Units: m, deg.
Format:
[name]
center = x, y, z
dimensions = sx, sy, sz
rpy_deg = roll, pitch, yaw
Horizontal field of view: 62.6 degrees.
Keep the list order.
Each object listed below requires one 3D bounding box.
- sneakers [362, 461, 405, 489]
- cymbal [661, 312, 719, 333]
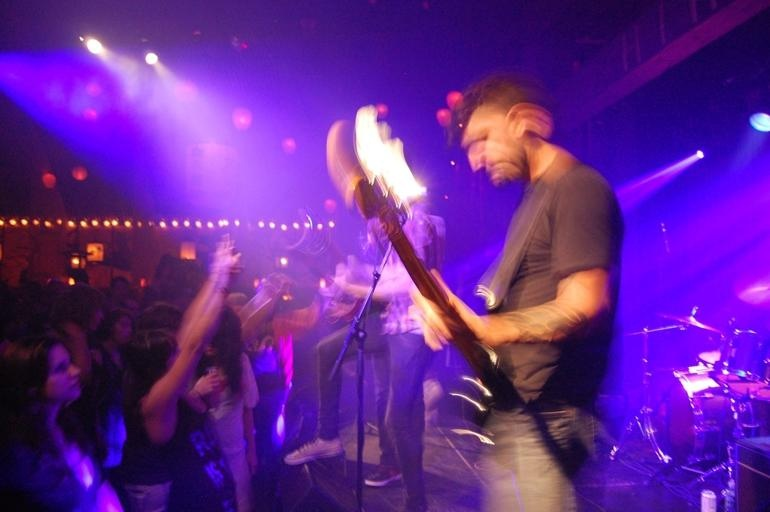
[sneakers]
center = -0.039, 2.959, 8.588
dimensions = 0.470, 0.239, 0.247
rpy_deg = 0, -12, -2
[cymbal]
center = 4.344, 0.951, 8.887
dimensions = 0.416, 0.100, 0.415
rpy_deg = 25, -7, -17
